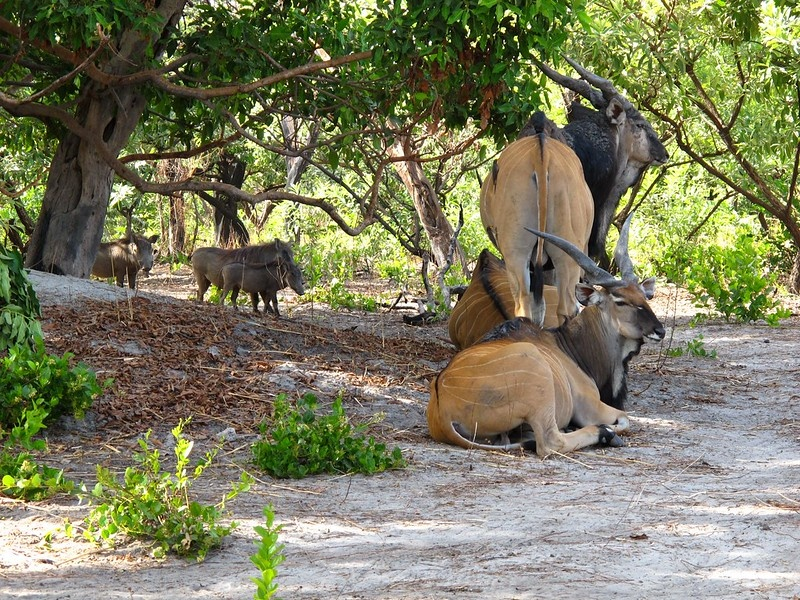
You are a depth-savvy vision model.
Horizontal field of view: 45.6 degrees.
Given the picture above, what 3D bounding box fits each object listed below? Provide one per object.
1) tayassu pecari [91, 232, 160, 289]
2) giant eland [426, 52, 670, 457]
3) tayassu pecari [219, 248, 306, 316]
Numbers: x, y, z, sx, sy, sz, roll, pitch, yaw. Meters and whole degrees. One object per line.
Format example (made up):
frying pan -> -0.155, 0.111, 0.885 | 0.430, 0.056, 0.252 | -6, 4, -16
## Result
tayassu pecari -> -4.314, -0.612, 14.749 | 0.884, 0.815, 0.492 | 0, 0, -21
giant eland -> 1.322, -0.160, 8.010 | 1.644, 2.653, 2.215 | 0, 0, 25
tayassu pecari -> -1.722, -0.163, 11.756 | 1.020, 0.730, 0.280 | 0, -2, -17
